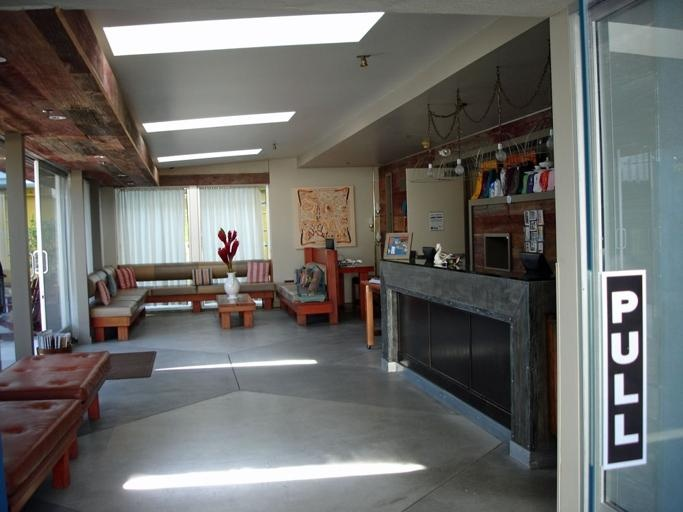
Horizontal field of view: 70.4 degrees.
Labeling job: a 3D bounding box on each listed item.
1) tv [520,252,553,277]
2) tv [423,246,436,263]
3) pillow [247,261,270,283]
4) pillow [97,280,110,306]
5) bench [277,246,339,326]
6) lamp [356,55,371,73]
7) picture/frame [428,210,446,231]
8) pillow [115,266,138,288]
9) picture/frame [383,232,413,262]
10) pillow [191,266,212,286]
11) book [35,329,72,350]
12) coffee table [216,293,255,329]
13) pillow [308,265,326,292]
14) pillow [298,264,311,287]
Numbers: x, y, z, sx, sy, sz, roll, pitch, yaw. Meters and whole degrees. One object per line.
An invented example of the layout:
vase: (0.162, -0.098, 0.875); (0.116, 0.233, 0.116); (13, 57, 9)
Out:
tv: (1.505, 0.062, 3.745); (0.176, 0.253, 0.218); (-1, -10, 39)
tv: (0.948, -0.024, 5.209); (0.128, 0.155, 0.410); (-1, 5, 9)
pillow: (-1.820, 0.333, 10.486); (0.398, 0.404, 0.146); (0, -15, -3)
pillow: (-3.994, 0.606, 8.073); (0.140, 0.351, 0.368); (-1, 3, -15)
bench: (-0.621, 0.484, 9.520); (1.320, 1.319, 2.348); (-2, 5, -7)
lamp: (0.220, -1.968, 4.929); (0.086, 0.085, 0.087); (-2, -10, 35)
picture/frame: (1.653, -0.628, 8.498); (0.345, 0.402, 0.040); (2, -4, -14)
pillow: (-4.454, 0.419, 9.966); (0.129, 0.380, 0.359); (-22, -2, 24)
picture/frame: (0.718, -0.124, 6.090); (0.400, 0.403, 0.148); (-4, -16, 41)
pillow: (-2.972, 0.405, 10.210); (0.344, 0.348, 0.126); (0, -22, -9)
book: (-3.516, 0.998, 5.939); (0.266, 0.123, 0.355); (0, 2, -20)
coffee table: (-1.907, 0.982, 8.682); (0.609, 0.454, 0.870); (-3, 5, -15)
pillow: (-0.431, 0.384, 8.769); (0.146, 0.450, 0.310); (-2, 0, -31)
pillow: (-0.732, 0.361, 9.532); (0.143, 0.416, 0.288); (8, -6, -27)
